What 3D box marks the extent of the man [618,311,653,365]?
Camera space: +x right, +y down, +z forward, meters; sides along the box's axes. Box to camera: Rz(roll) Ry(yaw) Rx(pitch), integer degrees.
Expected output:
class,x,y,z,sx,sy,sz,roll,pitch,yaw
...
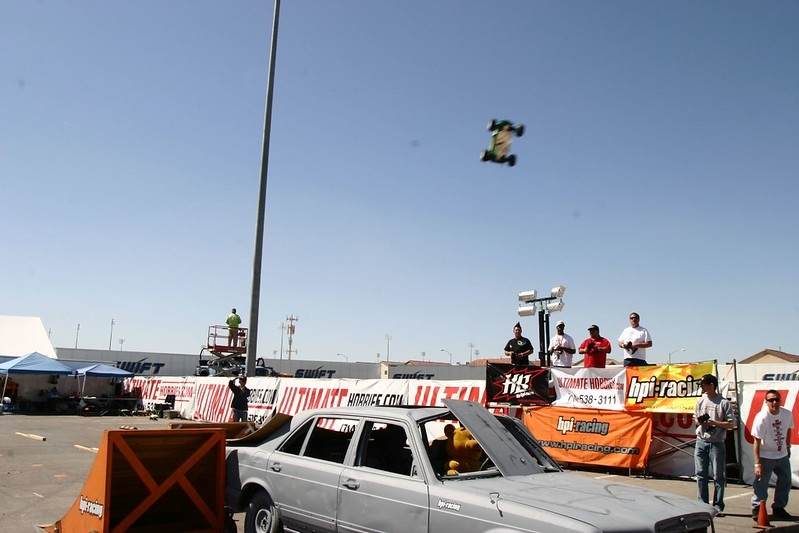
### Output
class,x,y,z,sx,sy,sz,roll,pitch,yaw
man,5.982,1.854,13.497,0.698,1.312,0.660,-3,-10,22

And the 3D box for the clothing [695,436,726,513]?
class,x,y,z,sx,sy,sz,roll,pitch,yaw
clothing,5.640,3.741,9.628,0.458,1.284,0.394,-1,-21,35

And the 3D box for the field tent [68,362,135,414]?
class,x,y,z,sx,sy,sz,roll,pitch,yaw
field tent,-17.275,6.510,30.866,3.068,1.888,3.183,-3,-12,27

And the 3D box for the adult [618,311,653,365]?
class,x,y,z,sx,sy,sz,roll,pitch,yaw
adult,5.971,1.850,13.469,0.699,1.312,0.725,-3,-10,22

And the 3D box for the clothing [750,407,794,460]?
class,x,y,z,sx,sy,sz,roll,pitch,yaw
clothing,6.615,2.931,9.407,0.809,0.907,0.260,3,-10,-20

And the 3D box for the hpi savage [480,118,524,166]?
class,x,y,z,sx,sy,sz,roll,pitch,yaw
hpi savage,3.269,-3.999,17.100,1.134,1.718,0.680,-5,-10,31
